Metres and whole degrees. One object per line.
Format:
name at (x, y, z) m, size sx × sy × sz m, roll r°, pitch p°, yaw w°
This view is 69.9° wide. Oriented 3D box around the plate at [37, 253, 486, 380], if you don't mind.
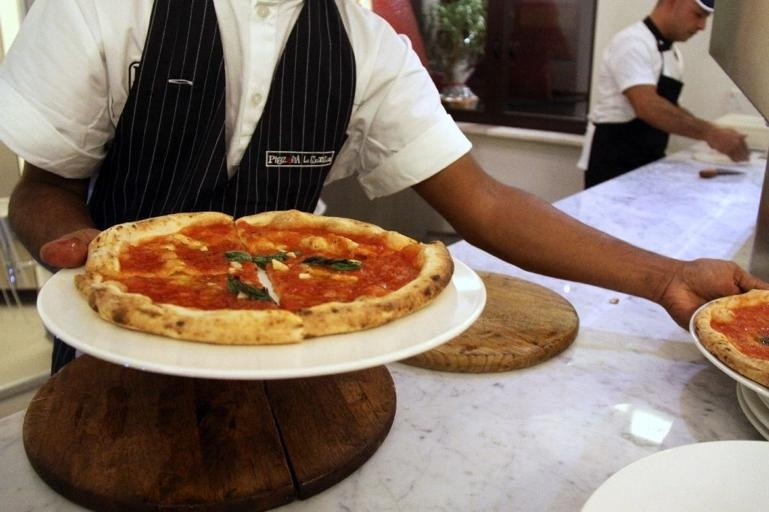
plate at (-0.185, 0.091, 0.885) m, size 0.738 × 0.054 × 0.313 m, roll -2°, pitch 22°, yaw -7°
